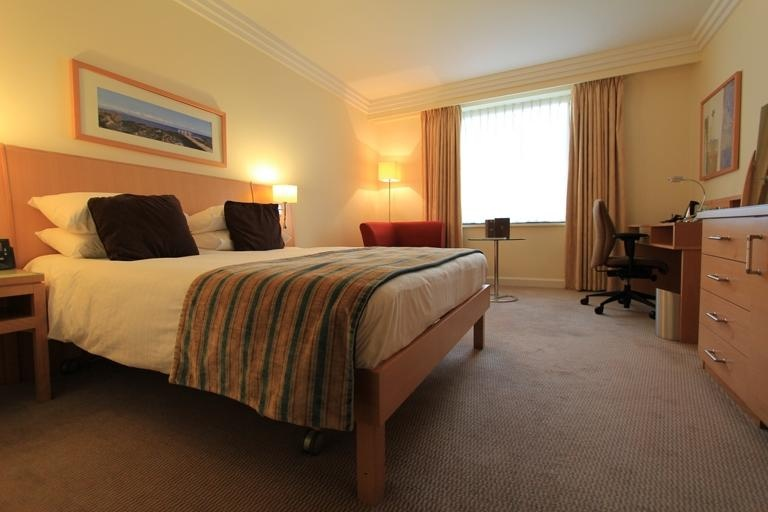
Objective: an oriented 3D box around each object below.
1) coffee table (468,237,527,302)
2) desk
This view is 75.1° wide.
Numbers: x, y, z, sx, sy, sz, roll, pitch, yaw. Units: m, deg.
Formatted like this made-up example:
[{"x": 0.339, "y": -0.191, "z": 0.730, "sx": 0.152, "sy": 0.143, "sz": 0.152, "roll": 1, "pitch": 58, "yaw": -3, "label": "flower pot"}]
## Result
[{"x": 1.364, "y": 0.131, "z": 6.197, "sx": 0.755, "sy": 0.869, "sz": 0.787, "roll": 0, "pitch": 0, "yaw": -13, "label": "coffee table"}, {"x": 2.570, "y": 0.141, "z": 4.289, "sx": 0.401, "sy": 0.730, "sz": 1.443, "roll": 0, "pitch": 2, "yaw": 17, "label": "desk"}]
